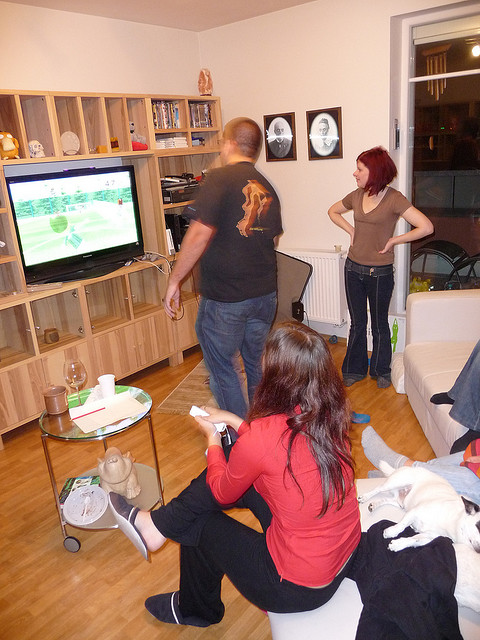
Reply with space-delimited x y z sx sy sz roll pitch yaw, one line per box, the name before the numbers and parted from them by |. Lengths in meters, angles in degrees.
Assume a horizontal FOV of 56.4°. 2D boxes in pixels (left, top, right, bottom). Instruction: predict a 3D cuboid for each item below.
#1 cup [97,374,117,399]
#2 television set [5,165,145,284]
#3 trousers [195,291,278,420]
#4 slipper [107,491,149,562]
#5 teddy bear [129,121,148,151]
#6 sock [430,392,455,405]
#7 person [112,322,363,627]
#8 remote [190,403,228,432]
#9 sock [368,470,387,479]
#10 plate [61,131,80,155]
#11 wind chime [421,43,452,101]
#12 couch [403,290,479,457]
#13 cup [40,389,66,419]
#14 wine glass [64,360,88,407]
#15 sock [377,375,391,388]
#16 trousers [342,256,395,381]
cup | -0.589 0.282 2.029 0.095 0.109 0.101 0 19 0
television set | -1.134 -0.718 3.247 0.093 0.759 1.059 6 18 36
trousers | 0.010 0.175 2.449 0.436 0.676 0.255 -14 17 -34
slipper | -0.371 0.689 1.487 0.079 0.235 0.274 -10 15 -23
teddy bear | -0.768 -1.402 3.403 0.116 0.241 0.214 -7 14 -10
sock | 0.953 0.369 2.108 0.091 0.038 0.034 6 17 16
person | 0.021 0.546 1.237 0.628 1.096 0.282 9 19 41
remote | -0.100 0.336 1.532 0.148 0.041 0.148 32 -1 31
sock | 0.564 0.650 1.864 0.089 0.025 0.048 -2 18 4
plate | -1.140 -1.190 3.022 0.115 0.142 0.063 -9 15 -19
wind chime | 1.405 -1.761 3.199 0.043 0.349 0.216 -12 16 -30
couch | 1.047 0.263 2.307 0.390 0.524 0.729 2 26 6
cup | -0.799 0.356 1.969 0.105 0.106 0.105 -1 22 0
wine glass | -0.740 0.274 2.031 0.090 0.222 0.267 -10 15 -21
sock | 1.026 0.442 3.192 0.064 0.024 0.084 2 57 9
trousers | 0.892 0.032 3.165 0.333 0.889 0.265 2 9 27
